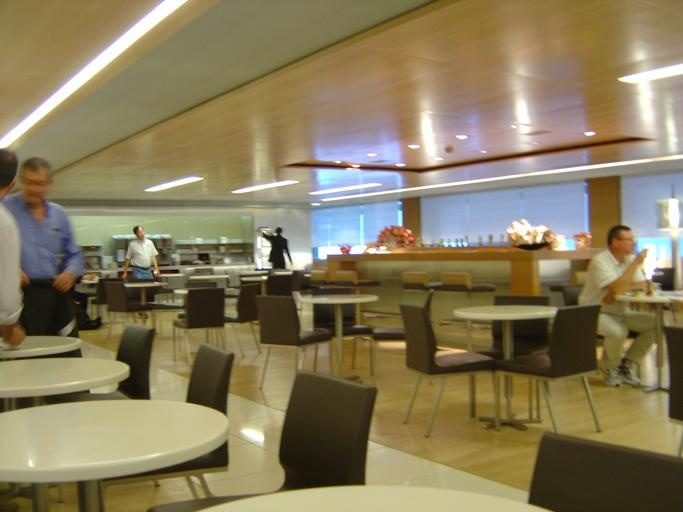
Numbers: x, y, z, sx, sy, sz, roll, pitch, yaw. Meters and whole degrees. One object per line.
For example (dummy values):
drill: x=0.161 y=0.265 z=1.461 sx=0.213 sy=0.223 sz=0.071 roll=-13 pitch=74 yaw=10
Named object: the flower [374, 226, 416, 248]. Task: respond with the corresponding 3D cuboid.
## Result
flower: x=1.019 y=-0.328 z=9.640 sx=0.548 sy=0.246 sz=0.523 roll=-4 pitch=-3 yaw=25
